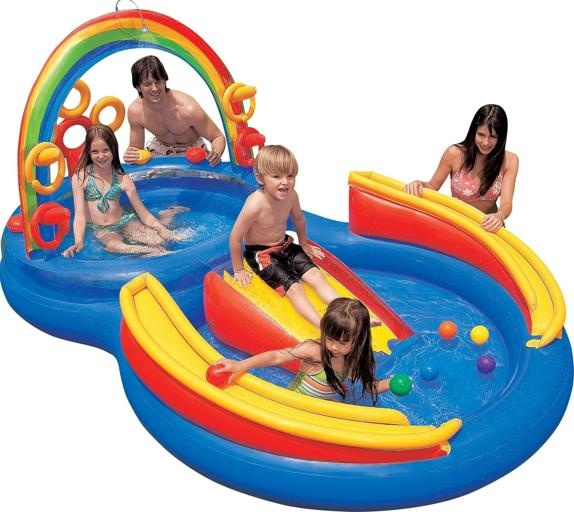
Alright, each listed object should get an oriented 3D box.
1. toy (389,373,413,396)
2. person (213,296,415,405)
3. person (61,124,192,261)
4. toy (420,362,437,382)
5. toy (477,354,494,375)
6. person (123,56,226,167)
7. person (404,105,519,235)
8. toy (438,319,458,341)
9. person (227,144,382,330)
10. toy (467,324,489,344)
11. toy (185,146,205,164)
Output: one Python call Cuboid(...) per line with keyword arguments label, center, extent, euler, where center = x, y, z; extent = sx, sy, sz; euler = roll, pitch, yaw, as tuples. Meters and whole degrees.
Cuboid(label="toy", center=(0.637, 0.722, 3.049), extent=(0.118, 0.118, 0.064), euler=(-16, -15, -4))
Cuboid(label="person", center=(0.160, 0.523, 2.959), extent=(0.950, 0.471, 0.612), euler=(-3, -20, 14))
Cuboid(label="person", center=(-1.365, -0.424, 4.480), extent=(0.814, 1.079, 0.537), euler=(11, -21, -24))
Cuboid(label="toy", center=(0.862, 0.711, 3.322), extent=(0.073, 0.101, 0.102), euler=(-39, -2, 33))
Cuboid(label="toy", center=(1.250, 0.679, 3.411), extent=(0.126, 0.112, 0.103), euler=(0, -20, 6))
Cuboid(label="person", center=(-1.080, -1.303, 5.024), extent=(0.933, 0.645, 1.059), euler=(-1, -47, 2))
Cuboid(label="person", center=(1.347, -0.547, 4.062), extent=(0.730, 0.769, 1.287), euler=(4, -34, 12))
Cuboid(label="toy", center=(1.088, 0.503, 3.703), extent=(0.123, 0.134, 0.167), euler=(-3, -20, 16))
Cuboid(label="person", center=(0.075, -0.126, 3.382), extent=(0.656, 1.132, 0.923), euler=(-16, -54, -24))
Cuboid(label="toy", center=(1.263, 0.509, 3.632), extent=(0.117, 0.118, 0.146), euler=(0, -41, 7))
Cuboid(label="toy", center=(-0.863, -0.955, 5.118), extent=(0.166, 0.126, 0.132), euler=(2, -1, 6))
